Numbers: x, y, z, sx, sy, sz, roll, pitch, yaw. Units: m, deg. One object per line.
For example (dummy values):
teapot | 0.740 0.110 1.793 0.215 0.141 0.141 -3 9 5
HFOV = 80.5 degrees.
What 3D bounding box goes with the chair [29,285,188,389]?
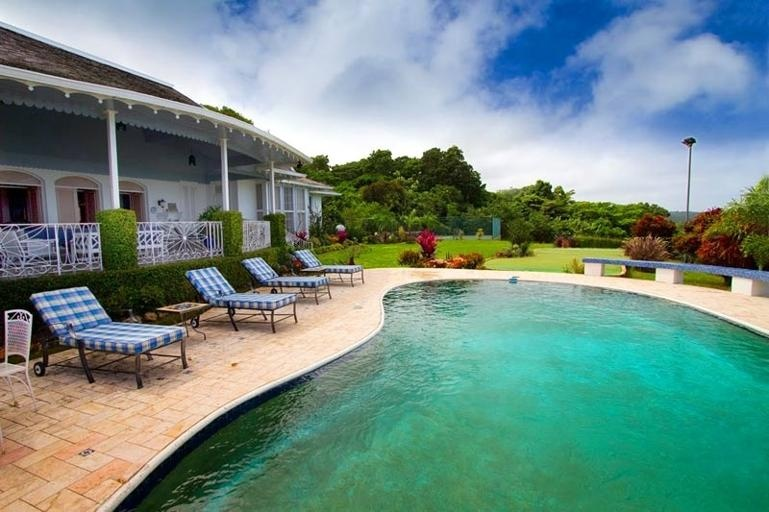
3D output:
chair | -5.956 1.703 10.098 3.404 2.056 1.775 4 6 16
